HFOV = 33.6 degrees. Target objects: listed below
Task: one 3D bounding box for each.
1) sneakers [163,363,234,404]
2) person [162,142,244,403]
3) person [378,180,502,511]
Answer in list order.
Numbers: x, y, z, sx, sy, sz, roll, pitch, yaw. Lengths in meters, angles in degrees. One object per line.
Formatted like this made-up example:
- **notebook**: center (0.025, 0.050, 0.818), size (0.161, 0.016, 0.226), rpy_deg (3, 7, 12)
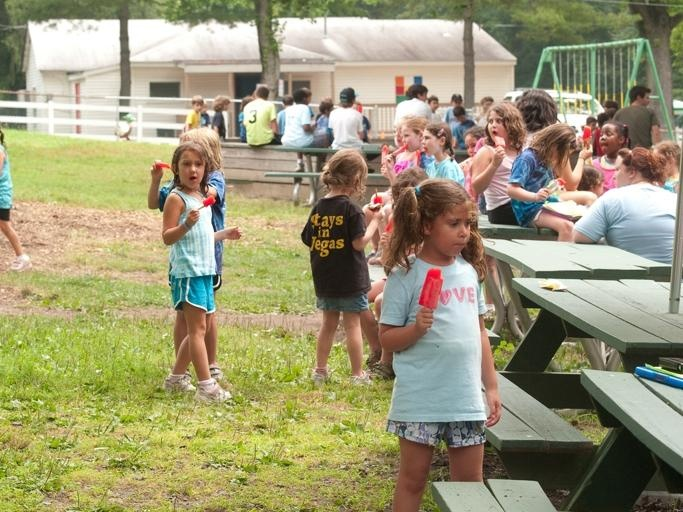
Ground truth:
- **sneakers**: center (-1.197, 1.056, 9.341), size (0.650, 0.285, 0.222), rpy_deg (4, 3, 7)
- **person**: center (-1.174, 0.130, 9.184), size (0.600, 2.070, 0.623), rpy_deg (2, 13, 8)
- **person**: center (0.632, 0.578, 7.362), size (0.781, 2.103, 0.614), rpy_deg (1, 13, 4)
